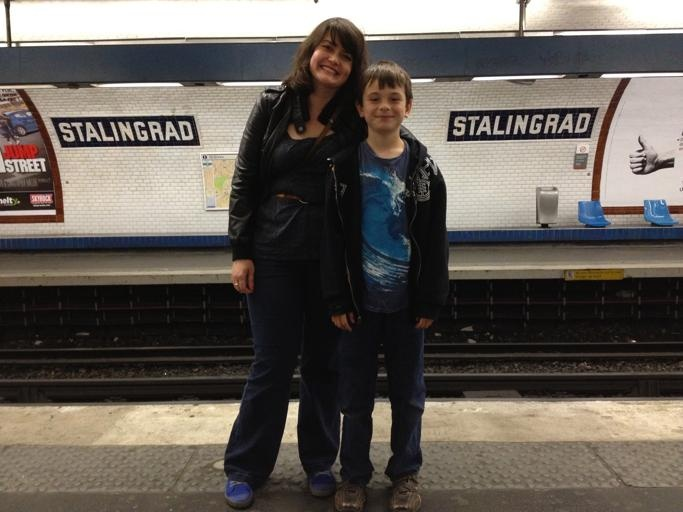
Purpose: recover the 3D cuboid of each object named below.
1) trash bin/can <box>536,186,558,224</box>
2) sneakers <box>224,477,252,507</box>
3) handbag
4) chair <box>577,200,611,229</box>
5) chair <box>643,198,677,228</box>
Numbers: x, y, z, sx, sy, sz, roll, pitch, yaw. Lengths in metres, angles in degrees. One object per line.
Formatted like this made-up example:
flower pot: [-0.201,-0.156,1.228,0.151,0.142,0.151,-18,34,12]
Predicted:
trash bin/can: [3.342,-0.809,13.461,0.324,0.627,0.420,2,13,5]
sneakers: [-0.978,2.268,7.883,0.268,0.242,0.170,0,13,-4]
handbag: [-0.597,-0.270,8.084,0.413,0.616,0.543,12,9,31]
chair: [4.142,-0.710,13.625,0.586,0.497,0.478,-1,-3,4]
chair: [5.194,-0.704,13.533,0.524,0.358,0.509,1,5,3]
